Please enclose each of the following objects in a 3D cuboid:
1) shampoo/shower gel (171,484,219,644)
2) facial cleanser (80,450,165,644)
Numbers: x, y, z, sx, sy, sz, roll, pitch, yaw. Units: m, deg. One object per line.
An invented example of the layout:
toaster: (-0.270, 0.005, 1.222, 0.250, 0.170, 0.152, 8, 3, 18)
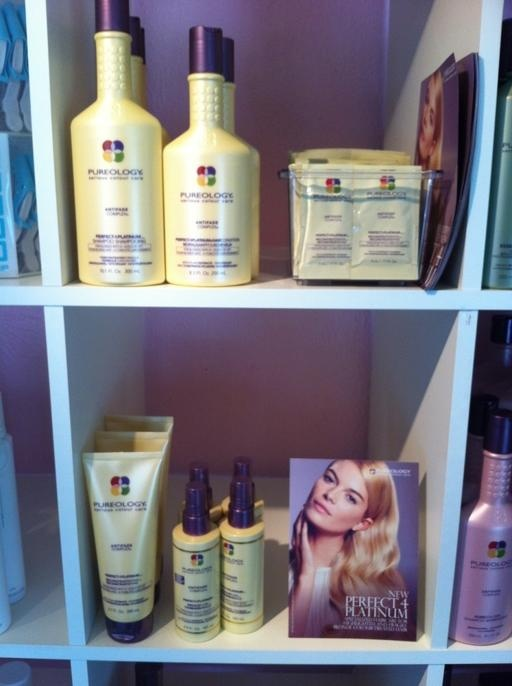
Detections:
shampoo/shower gel: (-0.062, 0.246, 0.616, 0.043, 0.197, 0.072, 2, 15, -3)
facial cleanser: (-0.140, 0.205, 0.607, 0.070, 0.233, 0.099, 2, 13, -6)
